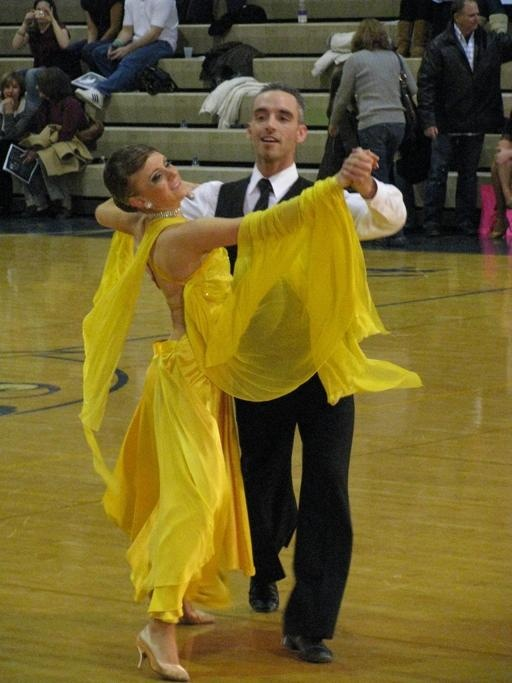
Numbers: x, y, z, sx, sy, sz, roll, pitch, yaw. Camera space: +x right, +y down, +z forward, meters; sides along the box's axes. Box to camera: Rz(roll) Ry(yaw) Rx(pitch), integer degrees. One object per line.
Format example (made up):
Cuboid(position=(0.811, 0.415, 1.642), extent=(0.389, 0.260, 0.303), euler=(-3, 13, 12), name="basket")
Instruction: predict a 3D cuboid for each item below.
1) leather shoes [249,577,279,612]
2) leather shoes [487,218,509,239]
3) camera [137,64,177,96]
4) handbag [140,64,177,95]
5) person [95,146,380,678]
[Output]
Cuboid(position=(0.019, 0.612, 1.764), extent=(0.047, 0.043, 0.114), euler=(0, -4, -5), name="leather shoes")
Cuboid(position=(2.855, -1.313, 8.609), extent=(0.151, 0.265, 0.415), euler=(-7, 7, 43), name="leather shoes")
Cuboid(position=(-1.554, -3.952, 11.201), extent=(0.584, 0.212, 0.576), euler=(-2, 1, 29), name="camera")
Cuboid(position=(-1.522, -3.951, 11.188), extent=(0.576, 0.203, 0.537), euler=(-2, 2, -25), name="handbag")
Cuboid(position=(-0.127, 0.139, 1.619), extent=(0.500, 1.110, 0.716), euler=(-5, 11, -14), name="person")
